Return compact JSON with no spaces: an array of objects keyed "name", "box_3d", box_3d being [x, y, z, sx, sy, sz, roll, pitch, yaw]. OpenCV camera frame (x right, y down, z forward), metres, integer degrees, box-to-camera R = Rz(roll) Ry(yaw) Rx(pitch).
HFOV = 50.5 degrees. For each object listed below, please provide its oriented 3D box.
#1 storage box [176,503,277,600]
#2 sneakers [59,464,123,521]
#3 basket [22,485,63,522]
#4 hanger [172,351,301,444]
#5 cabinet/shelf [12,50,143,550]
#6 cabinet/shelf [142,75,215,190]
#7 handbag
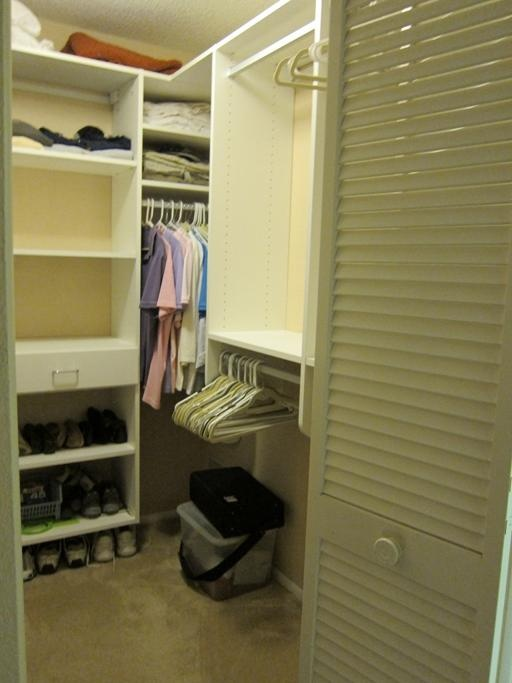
[{"name":"storage box","box_3d":[-0.140,0.884,2.389,0.300,0.308,0.380,0,5,-27]},{"name":"sneakers","box_3d":[-0.796,0.746,2.654,0.146,0.181,0.412,-1,-7,-31]},{"name":"basket","box_3d":[-1.013,0.743,2.558,0.153,0.107,0.159,0,2,-29]},{"name":"hanger","box_3d":[-0.048,0.202,2.013,0.479,0.248,0.265,-8,12,-37]},{"name":"cabinet/shelf","box_3d":[-0.824,-0.110,2.606,0.608,2.251,0.549,-1,5,-25]},{"name":"cabinet/shelf","box_3d":[-0.389,-0.968,2.651,0.334,0.475,0.405,0,5,-9]},{"name":"handbag","box_3d":[-0.094,0.705,2.383,0.318,0.167,0.455,-1,6,-26]}]
